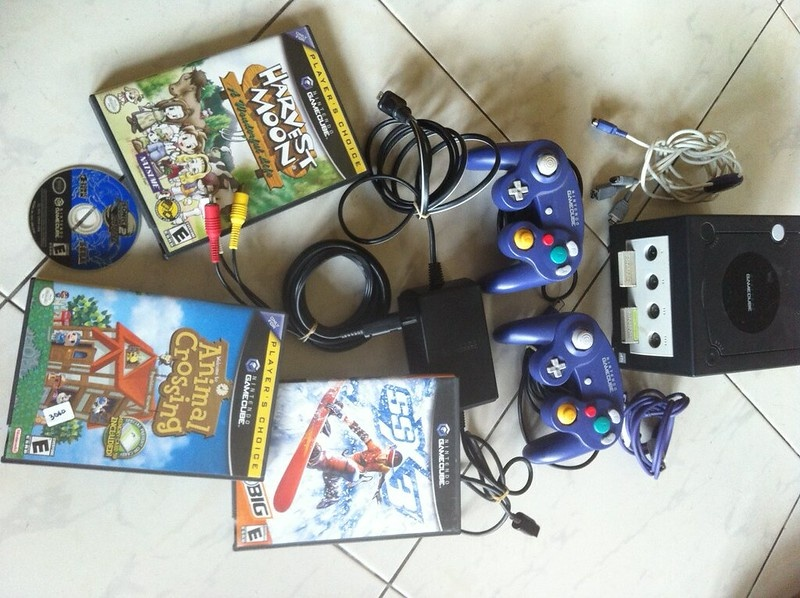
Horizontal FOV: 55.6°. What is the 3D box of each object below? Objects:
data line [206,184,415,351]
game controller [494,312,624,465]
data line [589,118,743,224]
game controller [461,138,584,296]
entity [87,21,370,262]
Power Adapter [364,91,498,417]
[{"bbox_3d":[-0.182,-0.026,1.442,0.374,0.070,0.268,10,88,-13],"label":"data line"},{"bbox_3d":[0.331,0.173,1.428,0.237,0.138,0.339,-8,94,-9],"label":"game controller"},{"bbox_3d":[0.565,-0.279,1.642,0.277,0.054,0.226,-26,106,13],"label":"data line"},{"bbox_3d":[0.263,-0.151,1.470,0.181,0.189,0.244,7,68,5],"label":"game controller"},{"bbox_3d":[-0.318,-0.298,1.412,0.427,0.141,0.272,-20,69,-6],"label":"entity"},{"bbox_3d":[0.051,-0.094,1.494,0.316,0.095,0.570,-14,97,-10],"label":"Power Adapter"}]
